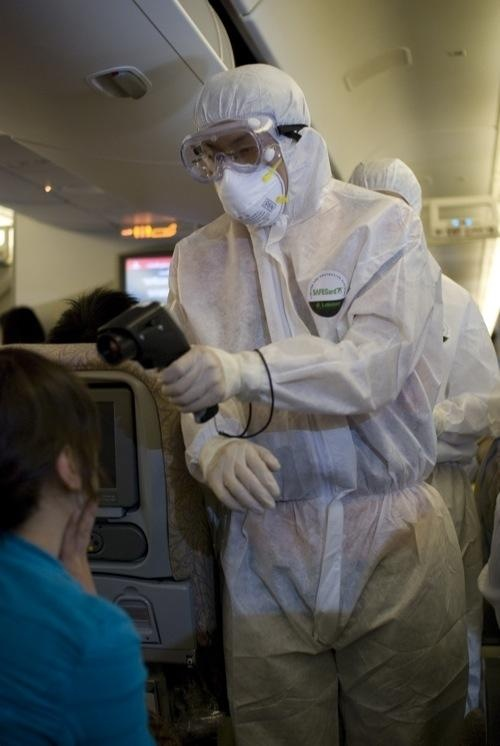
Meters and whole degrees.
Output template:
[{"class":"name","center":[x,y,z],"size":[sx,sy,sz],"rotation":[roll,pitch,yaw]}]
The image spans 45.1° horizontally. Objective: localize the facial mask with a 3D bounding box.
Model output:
[{"class":"facial mask","center":[0.009,-0.389,1.314],"size":[0.118,0.113,0.141],"rotation":[-2,10,24]}]
